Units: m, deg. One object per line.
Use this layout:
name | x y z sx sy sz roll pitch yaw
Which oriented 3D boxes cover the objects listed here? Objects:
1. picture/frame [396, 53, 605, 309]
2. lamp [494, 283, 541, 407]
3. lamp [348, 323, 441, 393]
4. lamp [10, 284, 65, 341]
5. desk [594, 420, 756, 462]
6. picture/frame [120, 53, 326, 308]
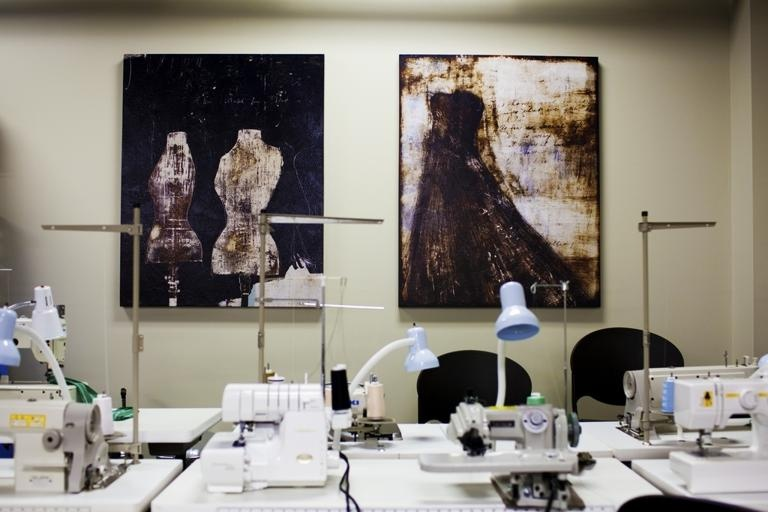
picture/frame | 0.847 -0.539 6.095 1.896 2.314 0.040 1 -4 -6
lamp | 0.839 0.555 4.951 0.254 0.806 0.860 -1 2 9
lamp | -0.005 0.656 5.049 0.620 0.563 0.333 -1 1 -15
lamp | -2.274 0.396 5.208 0.390 0.424 0.260 -4 2 18
desk | 1.651 1.193 4.948 0.559 0.201 0.407 -2 -1 7
picture/frame | -1.288 -0.535 6.017 1.877 2.327 0.034 0 1 1
